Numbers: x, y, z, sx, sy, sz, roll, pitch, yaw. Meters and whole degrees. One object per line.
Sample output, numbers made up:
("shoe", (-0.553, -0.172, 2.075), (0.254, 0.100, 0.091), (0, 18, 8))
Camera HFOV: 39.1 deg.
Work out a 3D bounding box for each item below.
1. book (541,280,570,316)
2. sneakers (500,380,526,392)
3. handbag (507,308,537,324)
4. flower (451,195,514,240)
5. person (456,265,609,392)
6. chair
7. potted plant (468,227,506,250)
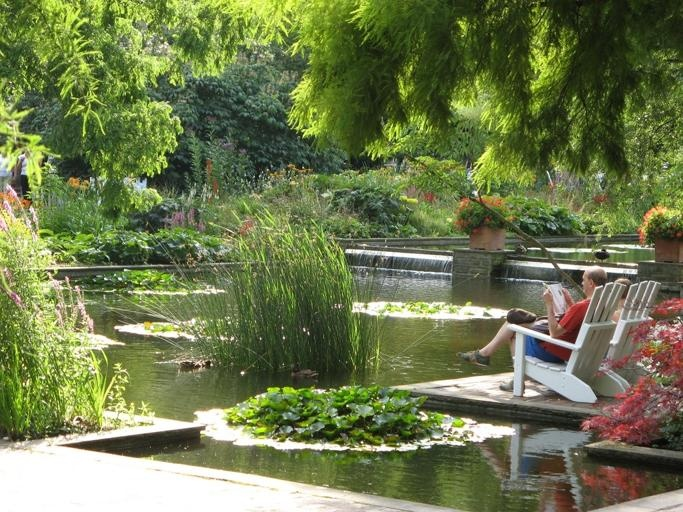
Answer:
("book", (1.952, 0.403, 8.860), (0.046, 0.459, 0.409), (-25, -27, 32))
("sneakers", (1.292, 1.022, 7.403), (0.075, 0.094, 0.217), (0, 2, -37))
("handbag", (1.403, 0.492, 7.575), (0.173, 0.064, 0.131), (6, -5, -21))
("flower", (2.394, -0.701, 16.989), (0.899, 0.574, 0.869), (5, -16, -44))
("person", (1.483, 0.613, 7.529), (1.077, 1.019, 0.476), (4, 10, 29))
("chair", (1.767, 0.672, 7.370), (0.893, 0.831, 0.965), (2, -6, -44))
("potted plant", (2.504, -0.256, 17.018), (0.450, 0.357, 0.481), (0, 1, 33))
